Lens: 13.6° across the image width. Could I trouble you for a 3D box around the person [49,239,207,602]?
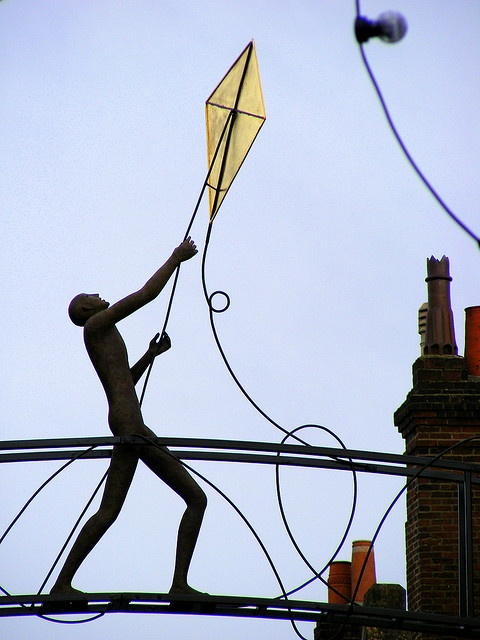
[{"bbox_3d":[-0.647,0.649,11.985,0.933,2.375,0.853,-7,-40,-1],"label":"person"}]
